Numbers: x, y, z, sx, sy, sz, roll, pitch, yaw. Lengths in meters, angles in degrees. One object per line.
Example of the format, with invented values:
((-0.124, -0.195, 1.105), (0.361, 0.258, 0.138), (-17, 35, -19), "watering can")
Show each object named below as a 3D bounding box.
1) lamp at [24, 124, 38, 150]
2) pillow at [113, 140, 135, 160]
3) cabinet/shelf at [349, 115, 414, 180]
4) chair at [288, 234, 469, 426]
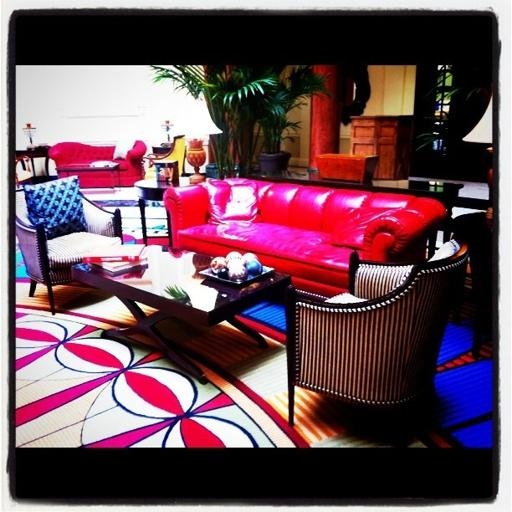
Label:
((-3.187, -1.717, 6.579), (0.156, 0.399, 0.483), (-2, 2, -24), "lamp")
((-1.721, -1.374, 6.035), (0.270, 0.246, 0.082), (4, -12, 35), "pillow")
((1.541, -1.330, 5.735), (0.721, 0.779, 0.379), (0, 2, 13), "cabinet/shelf")
((0.404, 0.197, 1.810), (0.689, 0.685, 0.614), (9, 17, 34), "chair")
